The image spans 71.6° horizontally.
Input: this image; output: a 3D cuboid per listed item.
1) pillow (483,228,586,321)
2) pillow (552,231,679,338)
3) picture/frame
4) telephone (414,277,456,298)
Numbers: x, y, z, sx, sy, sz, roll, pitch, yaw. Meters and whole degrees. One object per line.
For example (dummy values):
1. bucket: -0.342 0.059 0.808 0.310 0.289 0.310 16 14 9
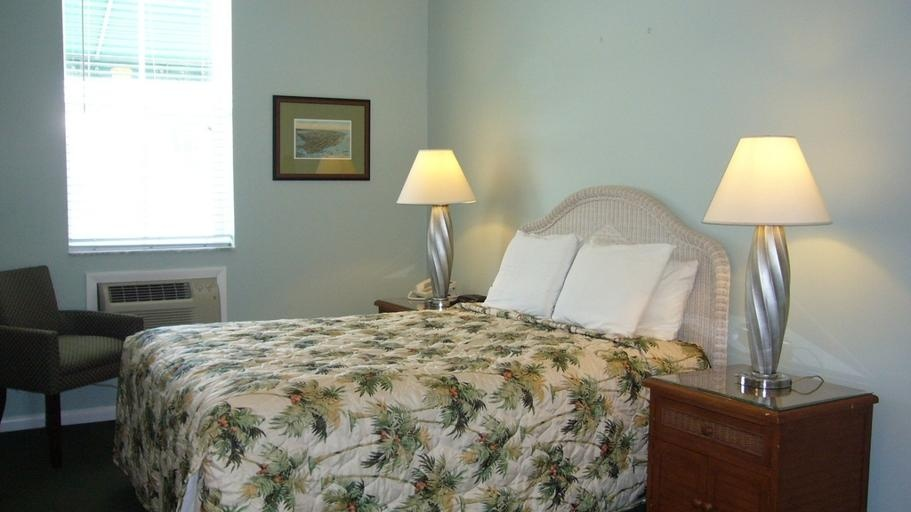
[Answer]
1. pillow: 0.654 0.156 4.919 0.193 0.640 0.707 32 -15 -37
2. pillow: 1.121 0.207 4.425 0.736 0.659 0.181 20 -8 46
3. picture/frame: -1.345 -1.160 6.166 1.000 0.741 0.072 -1 3 -23
4. telephone: -0.212 0.290 5.841 0.287 0.110 0.213 3 -2 -36
